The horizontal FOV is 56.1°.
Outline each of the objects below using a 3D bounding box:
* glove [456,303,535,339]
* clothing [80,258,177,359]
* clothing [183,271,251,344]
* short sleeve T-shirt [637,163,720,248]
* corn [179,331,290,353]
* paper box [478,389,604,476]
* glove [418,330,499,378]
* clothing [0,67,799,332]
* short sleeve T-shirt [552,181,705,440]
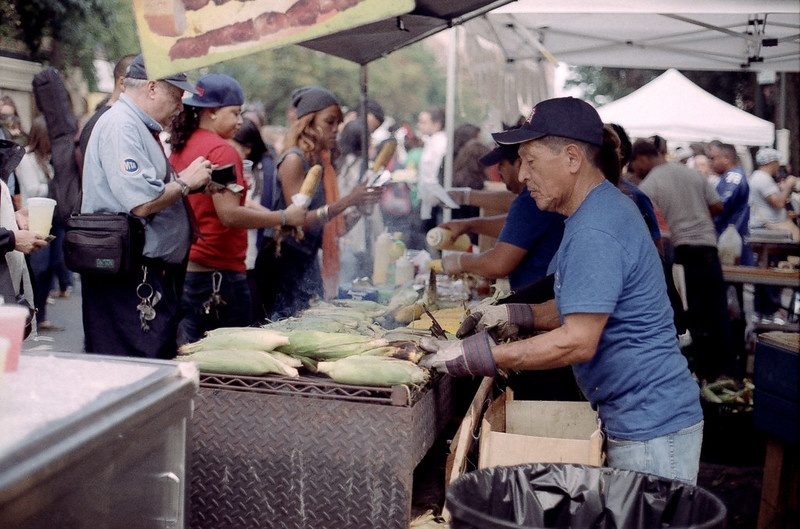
[{"bbox_3d":[0.576,0.325,4.328,0.285,0.116,0.251,-3,6,-5],"label":"glove"},{"bbox_3d":[-1.759,0.277,4.824,0.614,0.794,0.428,2,-3,-14],"label":"clothing"},{"bbox_3d":[-1.348,0.309,5.414,0.510,0.710,0.257,1,6,-8],"label":"clothing"},{"bbox_3d":[2.730,-0.574,7.386,0.924,0.909,0.534,-9,2,3],"label":"short sleeve T-shirt"},{"bbox_3d":[-0.907,0.441,4.209,0.614,0.165,0.150,-2,34,15],"label":"corn"},{"bbox_3d":[0.809,0.975,4.315,0.424,0.280,0.436,0,4,19],"label":"paper box"},{"bbox_3d":[0.310,0.489,4.006,0.356,0.249,0.147,1,-23,23],"label":"glove"},{"bbox_3d":[0.110,-0.520,6.494,3.623,0.853,1.068,-21,4,-9],"label":"clothing"},{"bbox_3d":[1.163,0.251,3.927,0.809,1.359,0.376,1,4,-20],"label":"short sleeve T-shirt"}]
